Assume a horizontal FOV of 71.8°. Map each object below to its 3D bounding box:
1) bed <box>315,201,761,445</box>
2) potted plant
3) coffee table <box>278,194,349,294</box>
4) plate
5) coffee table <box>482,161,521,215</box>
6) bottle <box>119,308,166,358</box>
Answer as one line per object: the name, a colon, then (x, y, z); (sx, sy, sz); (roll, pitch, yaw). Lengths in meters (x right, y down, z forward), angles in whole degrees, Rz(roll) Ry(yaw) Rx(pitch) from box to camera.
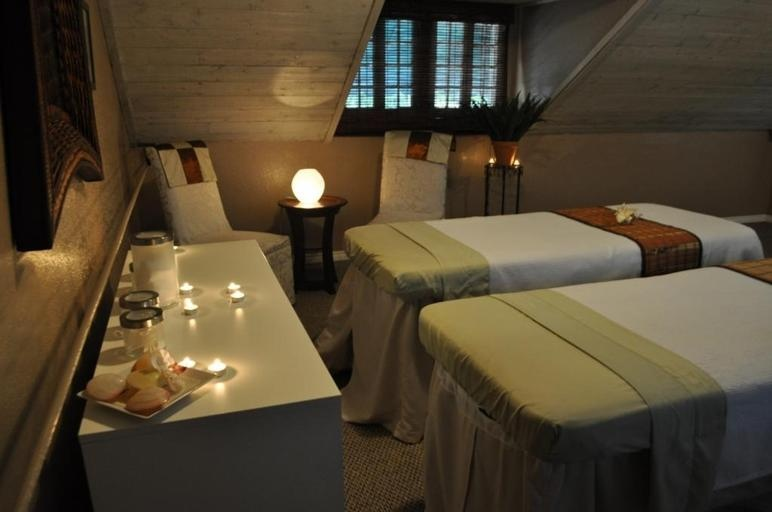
bed: (0.701, 0.078, 2.863); (1.920, 0.687, 1.213); (-7, 19, -18)
potted plant: (1.054, -1.045, 4.692); (0.699, 0.607, 0.725); (0, 9, -9)
coffee table: (-0.532, -0.138, 4.133); (0.641, 0.823, 0.680); (-4, 24, -9)
plate: (-0.608, 0.354, 1.390); (0.338, 0.074, 0.150); (-8, 17, -25)
coffee table: (1.020, -0.567, 4.679); (0.263, 0.448, 0.265); (4, 12, 21)
bottle: (-0.702, 0.218, 1.557); (0.110, 0.107, 0.089); (-13, 24, -36)
